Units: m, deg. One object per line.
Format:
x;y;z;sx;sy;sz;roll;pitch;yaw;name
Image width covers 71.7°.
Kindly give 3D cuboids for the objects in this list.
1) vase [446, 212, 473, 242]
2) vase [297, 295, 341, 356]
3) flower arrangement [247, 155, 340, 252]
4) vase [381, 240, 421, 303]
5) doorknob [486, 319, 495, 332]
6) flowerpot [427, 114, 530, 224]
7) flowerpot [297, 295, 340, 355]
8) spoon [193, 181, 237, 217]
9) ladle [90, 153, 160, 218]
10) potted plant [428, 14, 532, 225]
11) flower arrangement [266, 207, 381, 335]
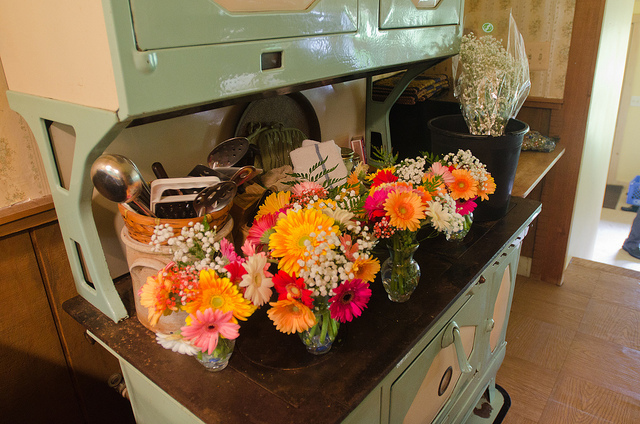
0.532;0.058;1.701;0.071;0.086;0.075;-9;36;0;vase
0.059;0.378;1.445;0.115;0.185;0.122;-9;-19;26;vase
-0.070;0.010;1.509;0.260;0.116;0.323;4;52;35;flower arrangement
0.298;0.213;1.626;0.132;0.216;0.136;18;28;41;vase
0.764;0.507;1.996;0.039;0.046;0.057;4;2;11;doorknob
0.699;-0.211;2.172;0.414;0.553;0.532;14;26;26;flowerpot
0.014;0.344;1.415;0.136;0.193;0.121;9;25;24;flowerpot
-0.341;-0.045;1.416;0.163;0.077;0.023;-48;33;7;spoon
-0.645;-0.100;1.371;0.168;0.148;0.057;6;27;11;ladle
0.747;-0.408;2.103;0.405;0.824;0.431;-2;13;-9;potted plant
0.010;0.150;1.399;0.293;0.367;0.331;-15;33;-37;flower arrangement
